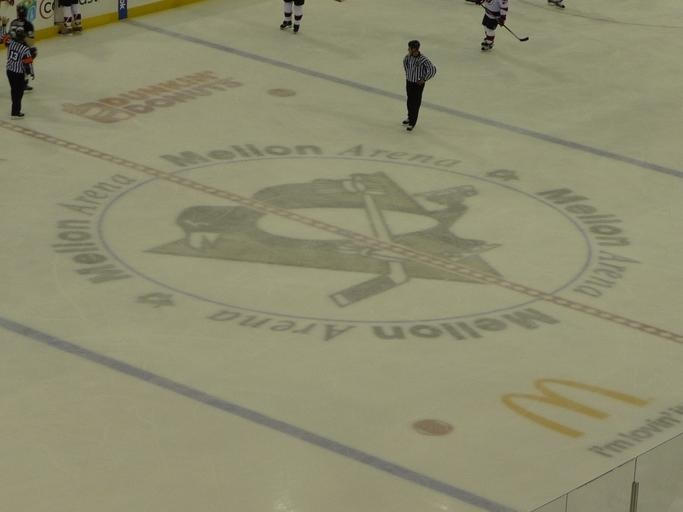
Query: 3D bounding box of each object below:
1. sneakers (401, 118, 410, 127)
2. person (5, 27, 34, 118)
[{"bbox_3d":[1.244,-2.591,24.278,0.073,0.107,0.180,-9,29,-20],"label":"sneakers"},{"bbox_3d":[-5.921,-3.429,23.359,0.491,1.592,1.044,-4,27,-11],"label":"person"}]
